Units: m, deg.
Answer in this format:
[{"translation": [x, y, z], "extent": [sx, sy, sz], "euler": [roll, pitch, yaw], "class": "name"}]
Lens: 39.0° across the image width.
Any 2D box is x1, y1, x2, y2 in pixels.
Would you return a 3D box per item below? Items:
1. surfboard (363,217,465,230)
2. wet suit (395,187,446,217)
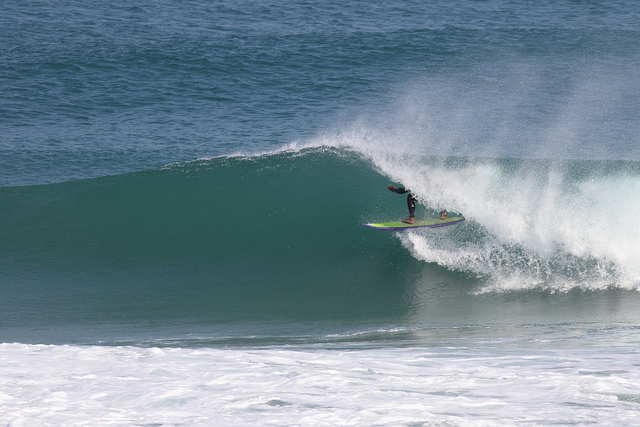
[{"translation": [3.050, 0.324, 28.139], "extent": [2.676, 0.113, 0.276], "euler": [-4, 21, 3], "class": "surfboard"}, {"translation": [3.028, -0.330, 27.798], "extent": [0.983, 0.878, 1.634], "euler": [0, -2, 25], "class": "wet suit"}]
